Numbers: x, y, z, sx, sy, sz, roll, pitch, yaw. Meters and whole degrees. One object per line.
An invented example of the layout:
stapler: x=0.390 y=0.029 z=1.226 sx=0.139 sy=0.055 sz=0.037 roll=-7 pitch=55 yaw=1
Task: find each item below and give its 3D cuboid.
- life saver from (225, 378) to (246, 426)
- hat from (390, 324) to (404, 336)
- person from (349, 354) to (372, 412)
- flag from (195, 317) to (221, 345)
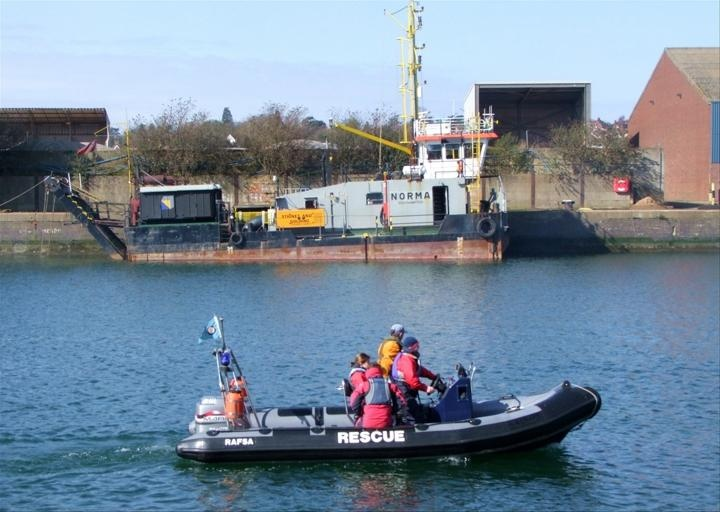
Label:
life saver: x=-4.806 y=5.549 z=55.033 sx=0.670 sy=1.820 sz=0.712 roll=13 pitch=17 yaw=42
hat: x=1.387 y=2.860 z=55.366 sx=0.411 sy=0.393 sz=0.329 roll=-13 pitch=15 yaw=-32
person: x=-0.036 y=5.042 z=55.166 sx=0.791 sy=2.715 sz=1.186 roll=-4 pitch=28 yaw=0
flag: x=-6.284 y=3.144 z=59.312 sx=1.181 sy=1.417 sz=0.158 roll=-5 pitch=8 yaw=10
